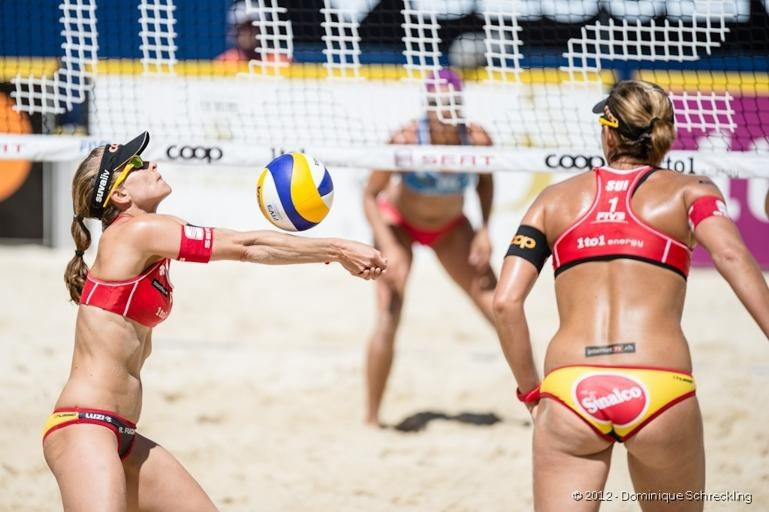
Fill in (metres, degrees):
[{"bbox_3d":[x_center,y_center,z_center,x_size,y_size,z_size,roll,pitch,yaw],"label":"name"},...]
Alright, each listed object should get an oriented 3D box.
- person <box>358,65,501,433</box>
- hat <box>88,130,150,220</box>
[{"bbox_3d":[0.417,-0.113,9.207,1.547,2.689,1.141,-1,10,-14],"label":"person"},{"bbox_3d":[-1.736,-0.540,7.294,0.255,0.584,0.327,0,0,0],"label":"hat"}]
